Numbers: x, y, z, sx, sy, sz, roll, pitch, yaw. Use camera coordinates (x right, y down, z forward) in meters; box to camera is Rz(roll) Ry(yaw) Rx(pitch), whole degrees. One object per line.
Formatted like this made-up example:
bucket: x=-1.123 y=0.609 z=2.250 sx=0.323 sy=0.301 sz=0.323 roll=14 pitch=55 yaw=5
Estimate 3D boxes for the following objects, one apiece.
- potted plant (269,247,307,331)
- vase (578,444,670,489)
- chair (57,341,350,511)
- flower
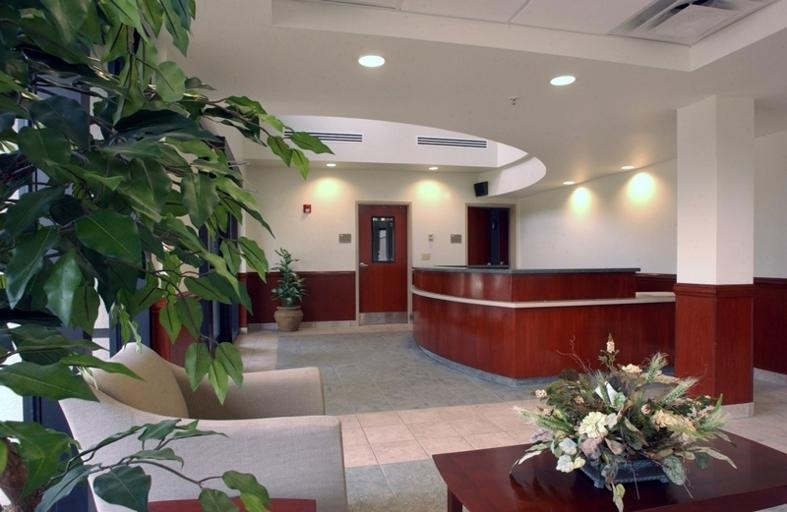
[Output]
potted plant: x=-1.784 y=0.548 z=8.959 sx=0.585 sy=1.392 sz=0.610 roll=0 pitch=2 yaw=-14
vase: x=0.965 y=0.881 z=2.170 sx=0.197 sy=0.073 sz=0.189 roll=-1 pitch=2 yaw=-8
chair: x=-0.704 y=0.718 z=2.255 sx=1.029 sy=0.598 sz=1.087 roll=0 pitch=1 yaw=0
flower: x=0.948 y=0.561 z=2.271 sx=0.721 sy=0.494 sz=0.715 roll=-1 pitch=-4 yaw=-8
